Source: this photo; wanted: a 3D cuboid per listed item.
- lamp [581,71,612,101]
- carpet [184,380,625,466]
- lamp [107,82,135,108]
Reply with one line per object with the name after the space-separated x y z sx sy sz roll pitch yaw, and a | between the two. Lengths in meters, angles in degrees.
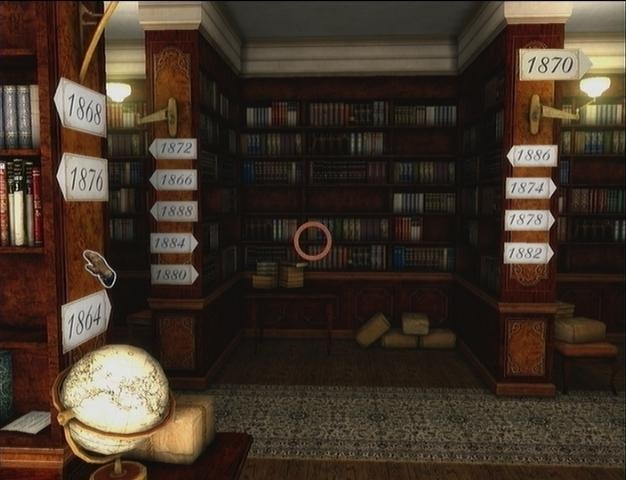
3.066 -1.718 5.925 0.340 0.170 0.371 3 -8 2 | lamp
0.924 1.514 4.531 3.410 0.054 1.178 0 11 3 | carpet
-2.157 -1.604 6.012 0.326 0.274 0.354 -2 4 -10 | lamp
